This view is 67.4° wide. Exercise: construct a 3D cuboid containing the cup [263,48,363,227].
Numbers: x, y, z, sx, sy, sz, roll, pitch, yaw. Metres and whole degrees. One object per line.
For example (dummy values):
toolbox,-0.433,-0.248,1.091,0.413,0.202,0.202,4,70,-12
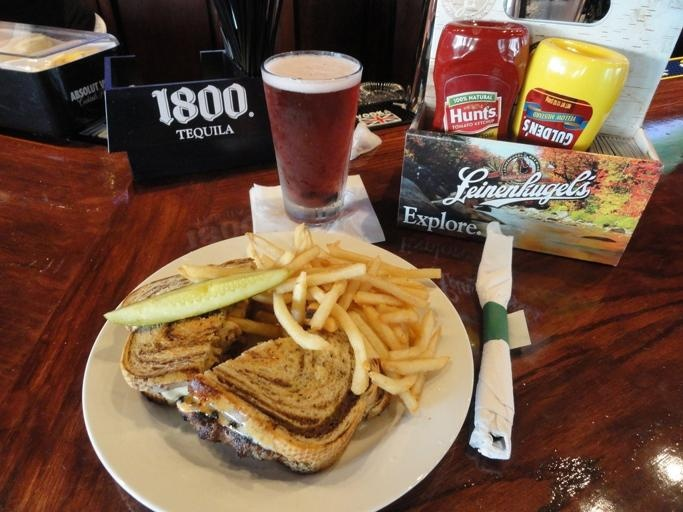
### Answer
cup,-0.085,-0.432,1.853,0.336,0.521,0.405,-8,45,-6
